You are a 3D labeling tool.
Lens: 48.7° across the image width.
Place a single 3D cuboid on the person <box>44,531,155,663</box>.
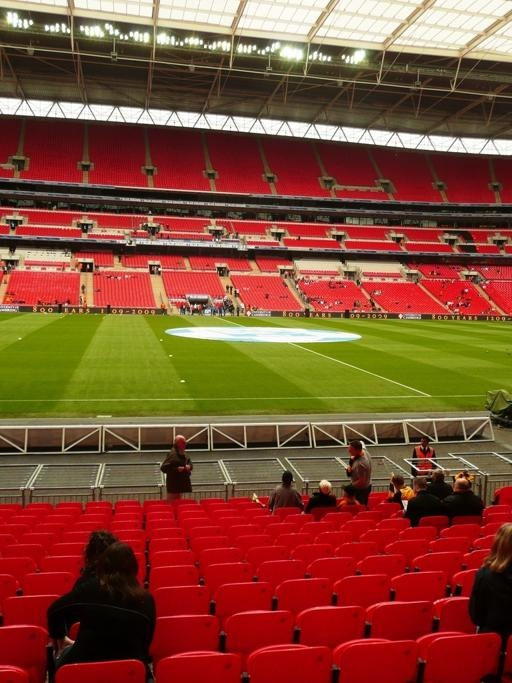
[{"bbox_3d":[-0.808,1.433,3.327,0.580,0.743,0.820,10,10,-12],"label":"person"}]
